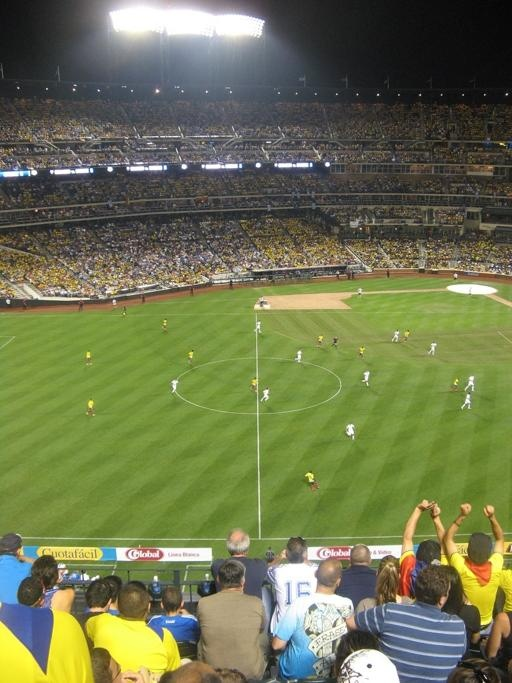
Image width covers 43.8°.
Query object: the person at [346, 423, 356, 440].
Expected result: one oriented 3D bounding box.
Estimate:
[{"bbox_3d":[5.561,5.300,37.484,0.599,1.111,0.424,19,62,15],"label":"person"}]
